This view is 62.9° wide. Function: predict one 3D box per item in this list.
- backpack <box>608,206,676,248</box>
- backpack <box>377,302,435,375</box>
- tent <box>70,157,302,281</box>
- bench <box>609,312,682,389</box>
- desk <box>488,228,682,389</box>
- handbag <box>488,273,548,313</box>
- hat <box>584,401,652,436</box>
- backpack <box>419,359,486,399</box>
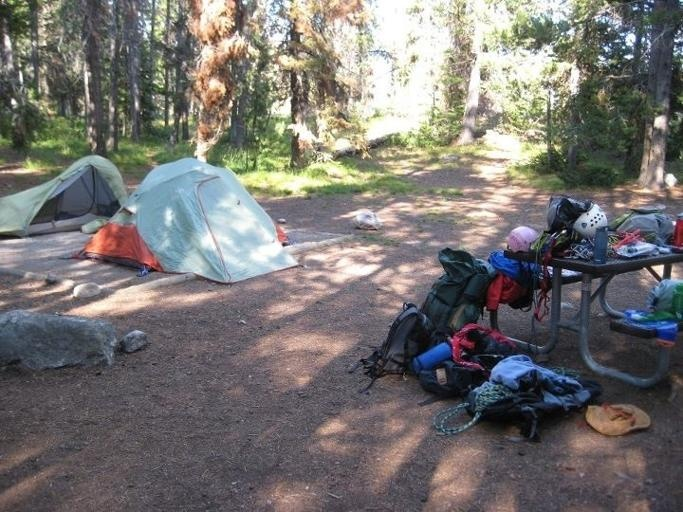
[{"bbox_3d":[3.408,-0.273,6.318,0.741,0.290,0.520,-7,17,-13],"label":"backpack"},{"bbox_3d":[0.704,0.920,6.006,0.403,0.686,0.517,24,8,-21],"label":"backpack"},{"bbox_3d":[-2.394,-0.545,9.314,2.629,1.211,2.446,10,13,27],"label":"tent"},{"bbox_3d":[2.891,0.909,5.326,0.507,0.698,0.496,10,18,38],"label":"bench"},{"bbox_3d":[2.692,0.418,5.965,1.843,1.042,1.734,-11,15,-40],"label":"desk"},{"bbox_3d":[1.874,0.380,6.104,0.528,0.487,0.231,17,1,-6],"label":"handbag"},{"bbox_3d":[2.453,1.457,4.937,0.365,0.100,0.287,-9,17,0],"label":"hat"},{"bbox_3d":[1.107,1.171,5.569,0.449,0.181,0.419,-12,11,-35],"label":"backpack"}]
